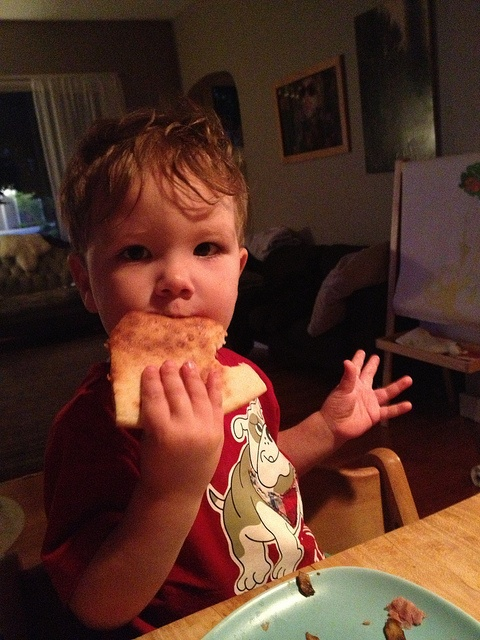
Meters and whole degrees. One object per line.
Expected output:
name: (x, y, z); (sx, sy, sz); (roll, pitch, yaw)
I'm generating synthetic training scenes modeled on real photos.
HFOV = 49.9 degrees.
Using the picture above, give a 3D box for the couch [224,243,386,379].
couch: (0.221, -0.209, 2.540); (0.853, 0.708, 0.659); (-6, 20, 0)

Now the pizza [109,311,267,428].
pizza: (-0.054, 0.043, 0.532); (0.167, 0.083, 0.093); (-6, 3, -21)
